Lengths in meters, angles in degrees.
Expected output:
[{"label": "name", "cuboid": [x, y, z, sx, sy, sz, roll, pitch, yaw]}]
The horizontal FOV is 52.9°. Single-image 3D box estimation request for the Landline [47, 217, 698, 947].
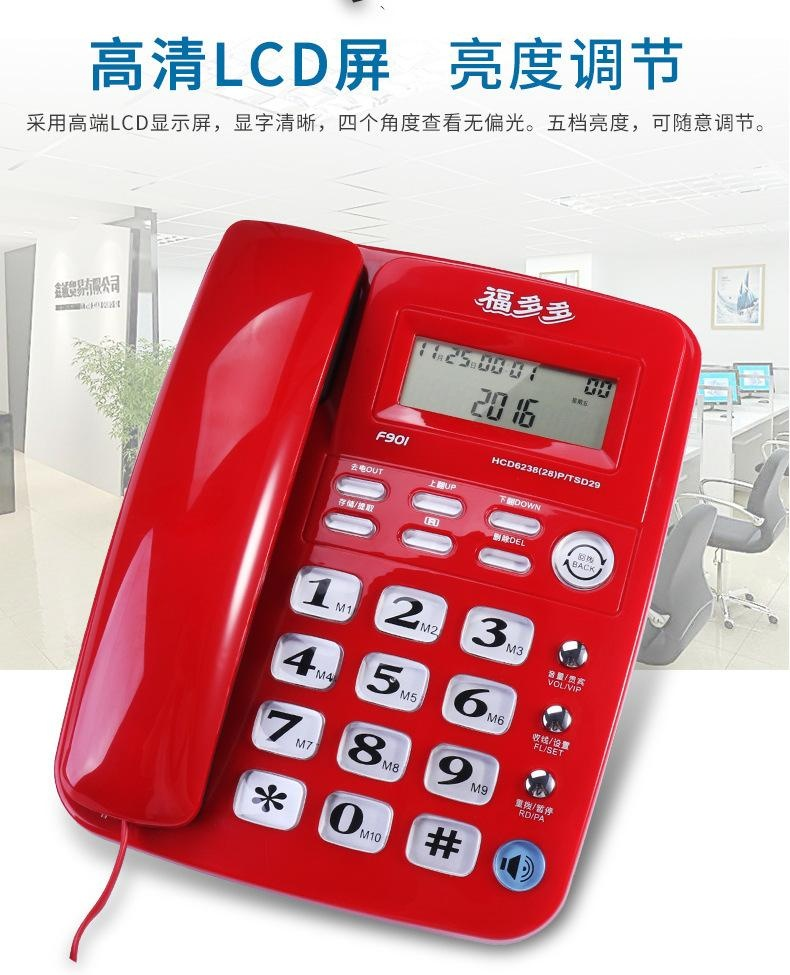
[{"label": "Landline", "cuboid": [-0.014, 0.018, 0.309, 0.215, 0.238, 0.231, 10, 18, 21]}]
